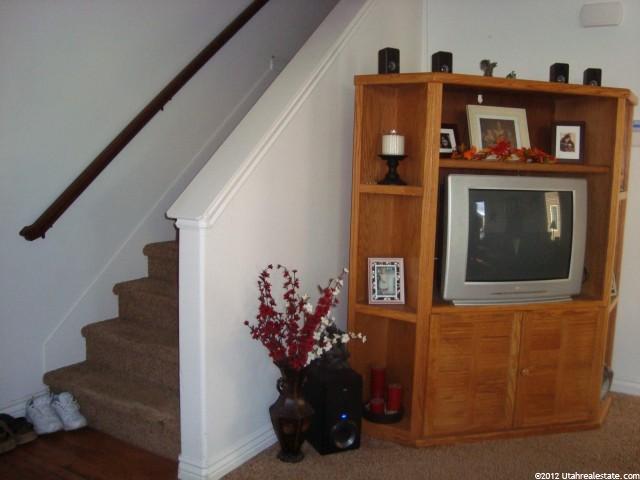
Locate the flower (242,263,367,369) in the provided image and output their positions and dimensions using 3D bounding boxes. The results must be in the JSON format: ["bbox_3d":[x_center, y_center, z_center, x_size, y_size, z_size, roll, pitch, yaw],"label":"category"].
[{"bbox_3d":[-0.089,0.447,3.183,0.425,0.598,0.740,6,8,37],"label":"flower"}]

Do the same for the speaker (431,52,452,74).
[{"bbox_3d":[0.732,-1.062,3.272,0.117,0.150,0.214,2,6,9],"label":"speaker"}]

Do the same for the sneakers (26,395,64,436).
[{"bbox_3d":[-1.683,1.041,3.357,0.303,0.160,0.135,20,18,40],"label":"sneakers"}]

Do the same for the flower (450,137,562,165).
[{"bbox_3d":[1.155,-0.549,3.420,0.703,0.138,0.284,1,6,-11],"label":"flower"}]

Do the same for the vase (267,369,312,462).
[{"bbox_3d":[-0.169,0.994,3.125,0.243,0.562,0.192,1,6,-6],"label":"vase"}]

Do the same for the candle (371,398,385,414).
[{"bbox_3d":[0.358,1.037,3.392,0.076,0.077,0.080,0,3,-2],"label":"candle"}]

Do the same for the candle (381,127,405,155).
[{"bbox_3d":[0.435,-0.594,3.276,0.134,0.163,0.140,0,3,0],"label":"candle"}]

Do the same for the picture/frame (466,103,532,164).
[{"bbox_3d":[1.114,-0.663,3.439,0.416,0.368,0.032,3,-12,-20],"label":"picture/frame"}]

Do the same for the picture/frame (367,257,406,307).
[{"bbox_3d":[0.410,0.268,3.399,0.271,0.347,0.033,1,-2,-11],"label":"picture/frame"}]

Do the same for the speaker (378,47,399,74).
[{"bbox_3d":[0.408,-1.080,3.317,0.140,0.167,0.177,3,6,13],"label":"speaker"}]

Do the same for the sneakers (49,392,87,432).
[{"bbox_3d":[-1.545,1.052,3.348,0.307,0.150,0.135,32,30,28],"label":"sneakers"}]

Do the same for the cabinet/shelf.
[{"bbox_3d":[0.987,0.144,3.370,2.091,2.405,0.735,-3,6,-23],"label":"cabinet/shelf"}]

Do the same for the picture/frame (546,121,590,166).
[{"bbox_3d":[1.593,-0.615,3.489,0.297,0.422,0.035,-1,3,1],"label":"picture/frame"}]
